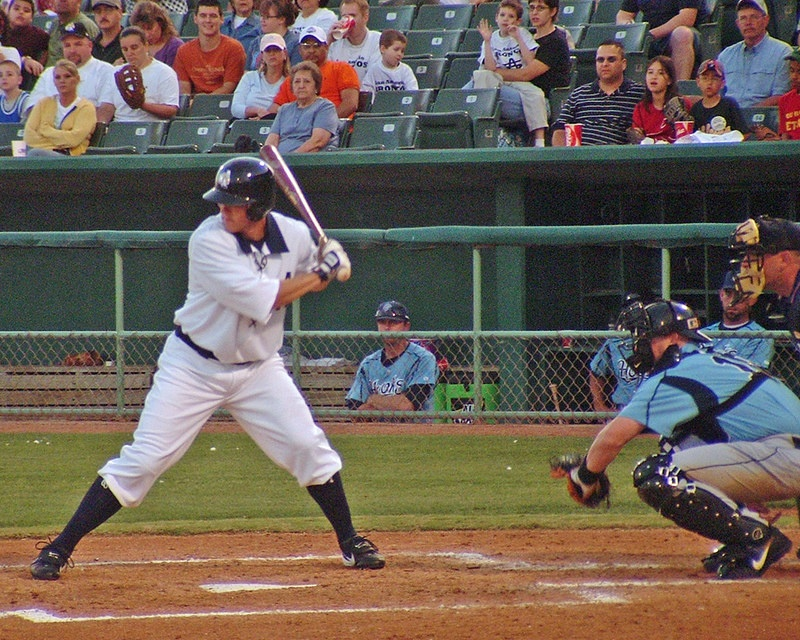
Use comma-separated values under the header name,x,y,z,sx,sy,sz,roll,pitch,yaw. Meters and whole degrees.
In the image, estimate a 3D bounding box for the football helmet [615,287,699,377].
name,x,y,z,sx,sy,sz,roll,pitch,yaw
football helmet,1.831,0.137,13.582,0.459,0.458,0.584,12,-9,-43

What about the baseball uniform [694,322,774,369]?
name,x,y,z,sx,sy,sz,roll,pitch,yaw
baseball uniform,2.453,0.197,15.164,0.339,0.325,0.183,4,-37,6

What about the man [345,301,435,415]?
name,x,y,z,sx,sy,sz,roll,pitch,yaw
man,-0.083,0.349,17.150,0.771,0.908,0.550,-9,-26,21

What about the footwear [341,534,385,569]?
name,x,y,z,sx,sy,sz,roll,pitch,yaw
footwear,-0.261,1.545,13.729,0.372,0.154,0.150,-4,-3,41

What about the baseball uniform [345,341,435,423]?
name,x,y,z,sx,sy,sz,roll,pitch,yaw
baseball uniform,0.014,0.482,16.985,0.953,0.673,0.514,1,-6,23

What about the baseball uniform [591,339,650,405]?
name,x,y,z,sx,sy,sz,roll,pitch,yaw
baseball uniform,1.732,0.402,16.737,0.249,0.603,0.733,-1,-1,22

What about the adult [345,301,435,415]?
name,x,y,z,sx,sy,sz,roll,pitch,yaw
adult,-0.083,0.349,17.150,0.771,0.908,0.550,-9,-26,21

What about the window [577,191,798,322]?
name,x,y,z,sx,sy,sz,roll,pitch,yaw
window,2.381,-0.515,16.752,1.348,0.743,0.170,1,-7,10

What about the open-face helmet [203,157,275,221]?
name,x,y,z,sx,sy,sz,roll,pitch,yaw
open-face helmet,-1.055,-0.884,13.673,0.532,0.385,0.377,-11,25,-30
